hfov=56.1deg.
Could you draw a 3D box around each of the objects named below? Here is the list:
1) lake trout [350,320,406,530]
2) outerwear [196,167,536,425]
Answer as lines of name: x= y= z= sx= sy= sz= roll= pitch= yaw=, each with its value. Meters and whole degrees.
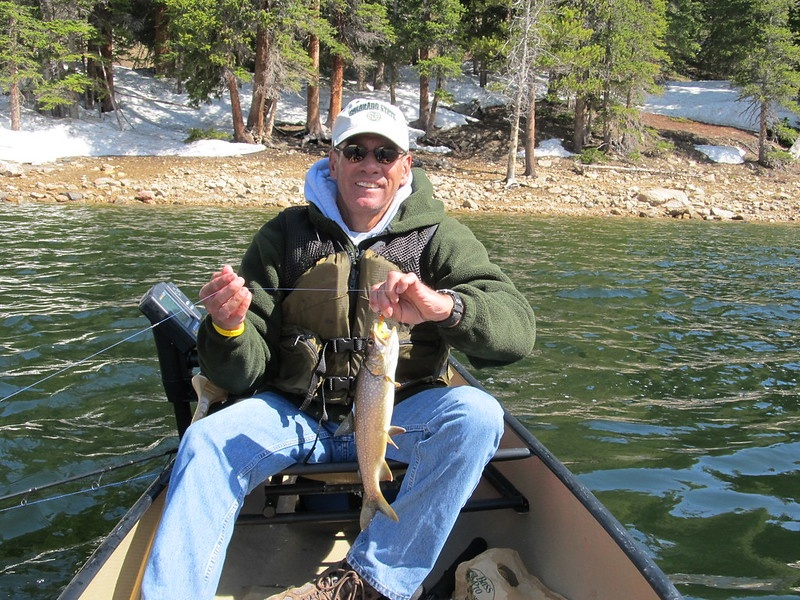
lake trout: x=-0.143 y=0.724 z=4.266 sx=0.235 sy=1.207 sz=0.368 roll=3 pitch=12 yaw=-8
outerwear: x=-0.207 y=-0.050 z=4.844 sx=2.203 sy=1.410 sz=1.490 roll=2 pitch=11 yaw=19
